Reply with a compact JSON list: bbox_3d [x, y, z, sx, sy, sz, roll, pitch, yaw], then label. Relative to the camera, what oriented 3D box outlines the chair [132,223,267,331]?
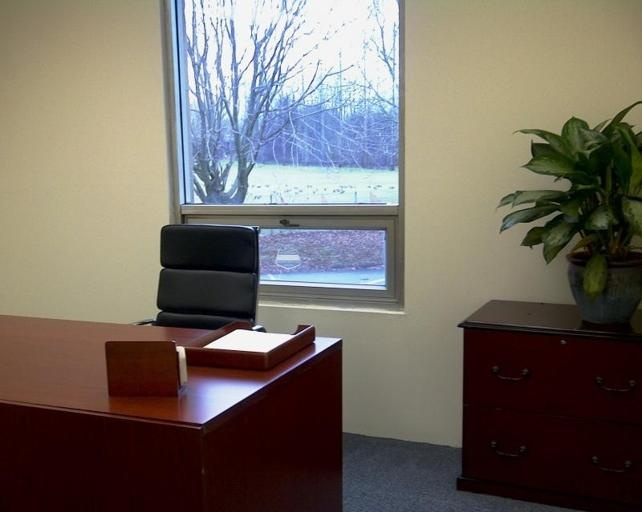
[{"bbox_3d":[-0.576,0.096,2.957,0.491,0.802,0.595,1,1,15],"label":"chair"}]
